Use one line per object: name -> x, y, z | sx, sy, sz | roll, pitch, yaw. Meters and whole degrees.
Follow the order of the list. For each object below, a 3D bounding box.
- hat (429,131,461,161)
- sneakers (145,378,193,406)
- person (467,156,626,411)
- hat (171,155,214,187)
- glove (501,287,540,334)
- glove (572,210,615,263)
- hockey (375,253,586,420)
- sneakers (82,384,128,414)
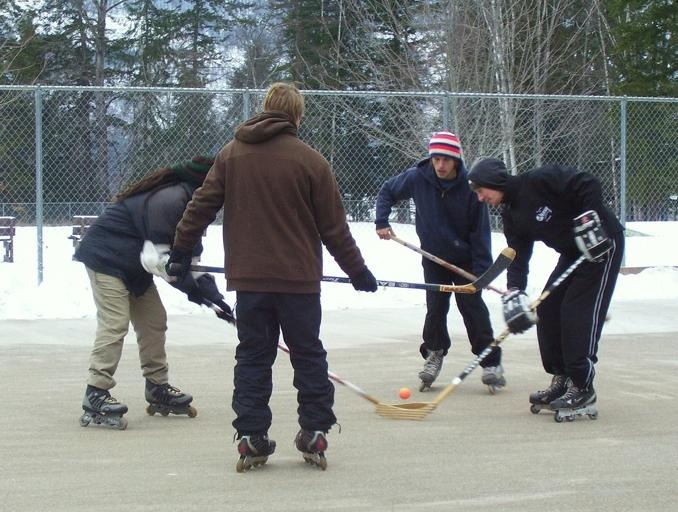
hat -> 1.103, -1.141, 10.393 | 0.254, 0.290, 0.341 | 3, -9, 3
sneakers -> -1.615, 1.332, 9.529 | 0.551, 0.267, 0.185 | 1, -3, 8
person -> 1.989, 0.301, 9.487 | 1.300, 2.391, 0.751 | 4, 14, 15
hat -> -1.310, -0.771, 9.090 | 0.289, 0.146, 0.329 | -3, 3, 0
glove -> 1.688, 0.533, 9.417 | 0.288, 0.396, 0.174 | -8, -23, 8
glove -> 2.347, -0.187, 9.184 | 0.297, 0.412, 0.229 | -26, 18, 11
hockey -> 1.468, 0.902, 10.347 | 0.121, 2.134, 0.370 | 49, 1, -44
sneakers -> -2.159, 1.335, 9.086 | 0.503, 0.223, 0.187 | 0, -4, 26
